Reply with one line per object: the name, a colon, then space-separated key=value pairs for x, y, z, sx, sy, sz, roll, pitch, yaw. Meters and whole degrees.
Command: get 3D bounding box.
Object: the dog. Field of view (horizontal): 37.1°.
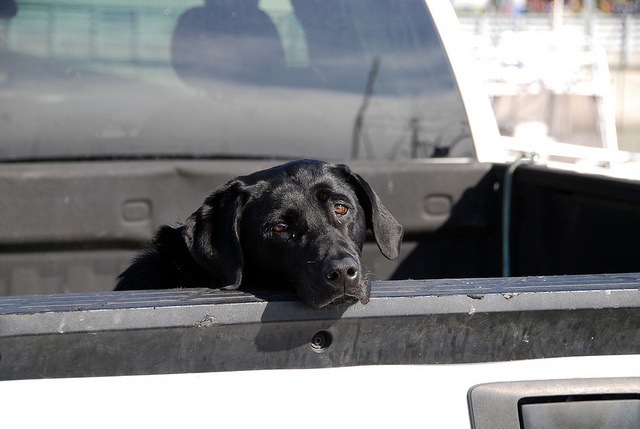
dog: x=-0.248 y=0.097 z=5.190 sx=0.751 sy=0.670 sz=1.460 roll=1 pitch=-2 yaw=-30
